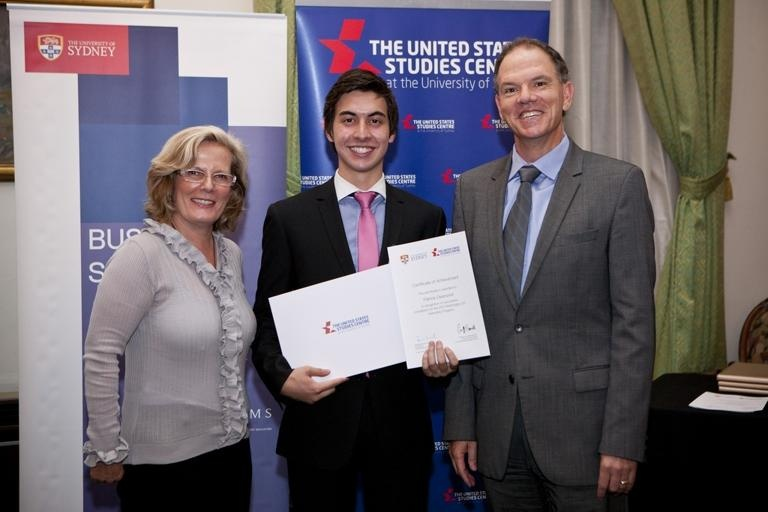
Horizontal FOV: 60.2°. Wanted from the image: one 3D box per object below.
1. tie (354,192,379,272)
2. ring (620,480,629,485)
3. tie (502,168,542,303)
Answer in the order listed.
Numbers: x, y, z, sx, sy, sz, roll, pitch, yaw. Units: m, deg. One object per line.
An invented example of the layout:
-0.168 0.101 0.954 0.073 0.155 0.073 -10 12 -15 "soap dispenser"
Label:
-0.078 -0.107 3.371 0.126 0.467 0.051 -6 34 -7 "tie"
1.108 1.052 3.068 0.028 0.028 0.006 -1 5 5 "ring"
0.683 -0.126 3.297 0.129 0.706 0.072 7 -10 19 "tie"
